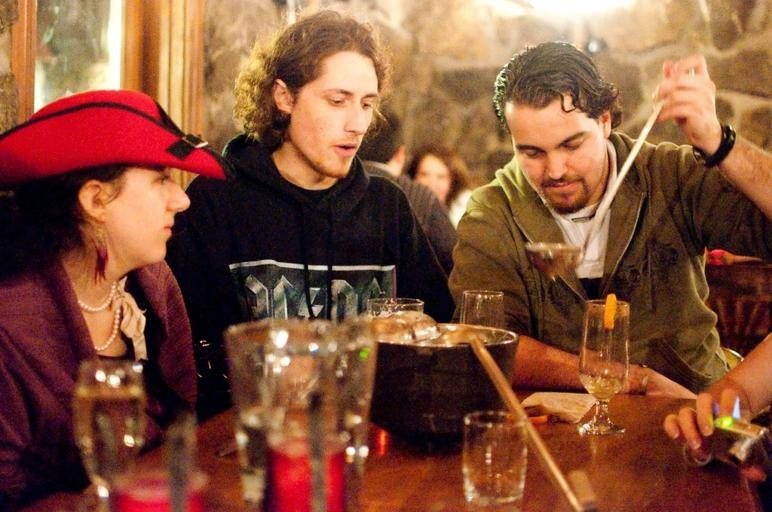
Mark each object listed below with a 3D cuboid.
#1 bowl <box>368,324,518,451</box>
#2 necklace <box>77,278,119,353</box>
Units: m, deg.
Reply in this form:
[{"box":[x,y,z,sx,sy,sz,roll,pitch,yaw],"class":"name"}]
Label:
[{"box":[0.159,0.333,2.158,0.324,0.222,0.313,0,-3,0],"class":"bowl"},{"box":[-0.938,0.202,2.653,0.157,0.194,0.029,-6,9,-38],"class":"necklace"}]
